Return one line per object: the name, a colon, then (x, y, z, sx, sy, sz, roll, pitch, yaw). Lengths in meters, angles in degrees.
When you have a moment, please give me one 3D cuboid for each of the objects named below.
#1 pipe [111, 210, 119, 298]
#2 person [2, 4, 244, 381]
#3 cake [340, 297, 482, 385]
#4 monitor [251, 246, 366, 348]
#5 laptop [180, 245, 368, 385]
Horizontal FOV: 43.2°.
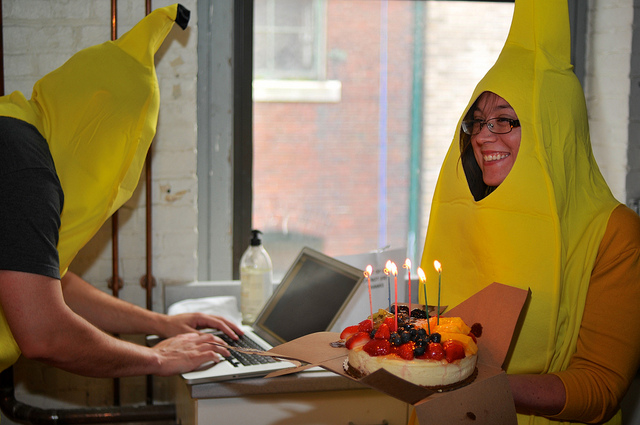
pipe: (-0.760, 0.154, 2.997, 0.029, 0.325, 0.029, -1, 5, -25)
person: (-0.633, -0.005, 2.645, 0.740, 1.332, 0.698, 0, 6, -17)
cake: (0.255, 0.350, 2.271, 0.357, 0.196, 0.314, -2, 6, -32)
monitor: (-0.034, 0.272, 2.786, 0.528, 0.290, 0.591, 1, -2, -25)
laptop: (-0.148, 0.314, 2.712, 0.461, 0.283, 0.434, 6, 2, -29)
